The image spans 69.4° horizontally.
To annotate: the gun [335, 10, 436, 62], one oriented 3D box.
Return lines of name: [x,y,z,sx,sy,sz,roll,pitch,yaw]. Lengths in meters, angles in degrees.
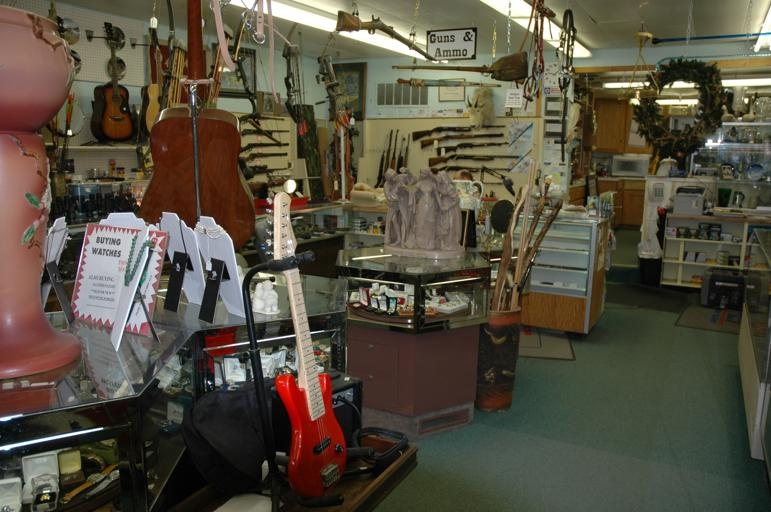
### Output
gun: [0.070,-2.178,5.661,1.223,0.256,0.104,11,24,-35]

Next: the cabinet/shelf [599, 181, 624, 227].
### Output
cabinet/shelf: [5.701,-1.325,14.008,0.555,1.146,1.176,7,8,29]

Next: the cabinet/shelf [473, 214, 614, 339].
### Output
cabinet/shelf: [2.000,0.245,6.875,0.970,1.328,1.319,7,-1,10]

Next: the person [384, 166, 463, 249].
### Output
person: [0.330,-0.372,4.603,0.710,0.765,0.239,1,3,13]

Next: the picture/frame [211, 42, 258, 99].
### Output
picture/frame: [-2.260,-2.668,8.119,0.820,0.961,0.039,1,-32,-15]

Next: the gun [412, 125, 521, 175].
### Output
gun: [1.550,-2.017,10.598,2.007,0.892,0.428,9,16,29]

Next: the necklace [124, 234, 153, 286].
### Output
necklace: [-1.267,0.023,2.842,0.155,0.245,0.097,-7,15,-25]

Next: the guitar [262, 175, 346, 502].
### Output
guitar: [-0.399,0.503,2.917,0.362,1.641,0.402,-5,15,-19]

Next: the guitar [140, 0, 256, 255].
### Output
guitar: [-1.243,-0.809,3.555,0.721,1.605,0.466,-5,15,-19]

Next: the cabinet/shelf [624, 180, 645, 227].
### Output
cabinet/shelf: [6.253,-1.300,13.882,0.461,1.250,0.380,9,16,31]

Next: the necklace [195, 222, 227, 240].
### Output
necklace: [-0.918,-0.126,2.909,0.121,0.039,0.102,8,-6,34]

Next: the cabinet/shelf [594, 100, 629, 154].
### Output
cabinet/shelf: [5.644,-3.227,14.235,0.730,1.233,0.678,0,8,-4]

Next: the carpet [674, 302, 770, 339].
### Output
carpet: [4.154,0.801,7.052,0.674,0.071,1.096,11,18,34]
